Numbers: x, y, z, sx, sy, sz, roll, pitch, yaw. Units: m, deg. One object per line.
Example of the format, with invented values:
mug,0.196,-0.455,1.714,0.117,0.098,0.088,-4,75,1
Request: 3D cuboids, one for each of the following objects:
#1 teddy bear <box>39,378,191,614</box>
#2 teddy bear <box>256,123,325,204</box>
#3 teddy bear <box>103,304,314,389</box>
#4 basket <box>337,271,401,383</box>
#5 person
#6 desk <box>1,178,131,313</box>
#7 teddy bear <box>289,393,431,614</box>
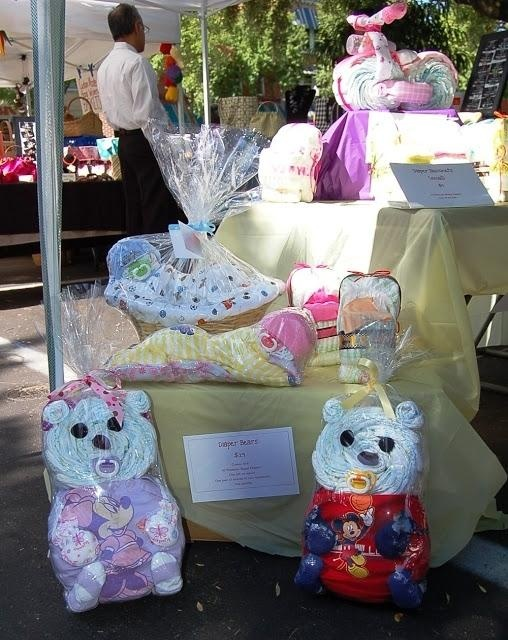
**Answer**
teddy bear,-0.295,0.343,1.040,0.259,0.436,0.271,-7,9,-23
teddy bear,0.108,-0.504,1.624,0.188,0.220,0.243,12,25,11
teddy bear,-0.084,0.058,1.196,0.489,0.164,0.183,-1,5,9
basket,0.246,0.015,1.070,0.141,0.230,0.093,0,-13,20
person,-0.706,-1.263,3.235,0.431,1.393,0.633,-10,11,-34
desk,-1.709,-0.750,4.715,1.472,0.639,1.398,-5,1,-14
teddy bear,0.217,0.346,0.966,0.274,0.347,0.211,-2,-13,30
